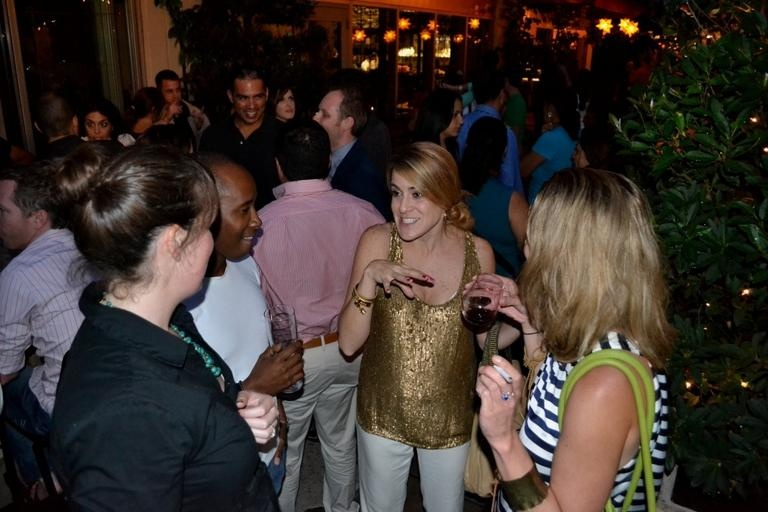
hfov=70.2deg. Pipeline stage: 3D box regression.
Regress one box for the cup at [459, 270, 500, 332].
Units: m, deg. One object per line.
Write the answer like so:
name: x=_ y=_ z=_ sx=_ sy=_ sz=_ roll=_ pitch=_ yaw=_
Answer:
cup: x=0.533 y=0.243 z=2.794 sx=0.189 sy=0.280 sz=0.199 roll=-1 pitch=39 yaw=1
